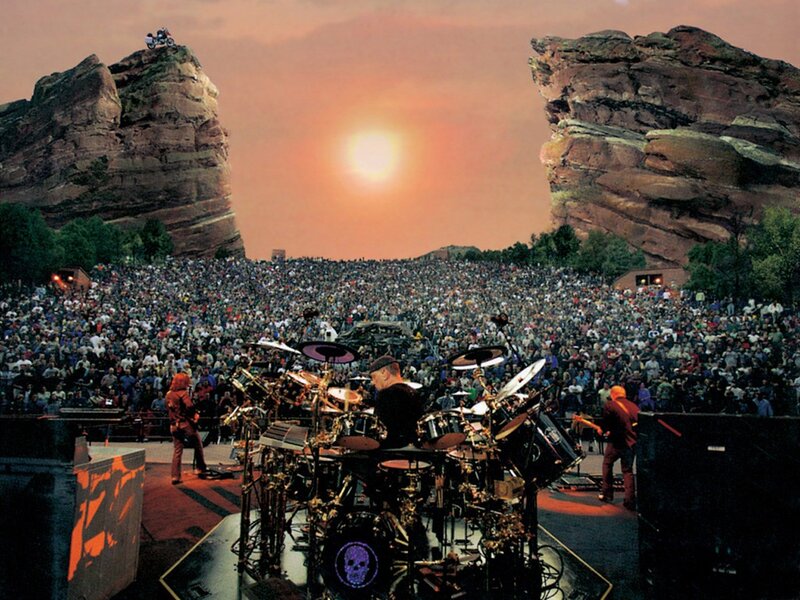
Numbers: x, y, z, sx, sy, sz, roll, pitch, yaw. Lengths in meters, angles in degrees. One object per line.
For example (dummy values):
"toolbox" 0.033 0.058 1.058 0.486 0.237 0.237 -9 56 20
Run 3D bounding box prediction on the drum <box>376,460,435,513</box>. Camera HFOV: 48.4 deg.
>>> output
"drum" 0.087 3.121 15.011 0.932 0.879 0.876 4 -17 -2

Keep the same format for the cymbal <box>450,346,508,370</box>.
"cymbal" 1.338 0.986 15.338 1.013 0.370 0.992 -3 -6 -18

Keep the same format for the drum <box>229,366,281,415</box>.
"drum" -2.503 1.515 15.168 0.805 0.792 0.770 -4 -6 -11

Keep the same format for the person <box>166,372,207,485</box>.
"person" -4.414 2.567 18.265 0.734 2.259 1.117 -3 -6 -14

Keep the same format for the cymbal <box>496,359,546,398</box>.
"cymbal" 1.975 1.340 14.772 0.771 0.109 0.611 -33 20 -1

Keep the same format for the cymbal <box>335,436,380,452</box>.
"cymbal" -0.696 2.355 14.689 0.703 0.283 0.456 -4 -5 -6

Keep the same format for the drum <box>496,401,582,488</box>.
"drum" 2.279 2.461 15.307 1.105 1.335 1.322 -42 9 -2

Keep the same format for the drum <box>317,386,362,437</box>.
"drum" -1.012 1.867 15.038 0.701 0.625 0.720 11 5 43

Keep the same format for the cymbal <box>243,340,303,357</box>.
"cymbal" -2.065 0.807 14.892 0.514 0.114 0.450 23 -16 -36

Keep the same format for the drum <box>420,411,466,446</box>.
"drum" 0.660 2.100 14.499 0.620 0.358 0.605 0 -14 0

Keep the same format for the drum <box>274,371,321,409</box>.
"drum" -1.777 1.560 15.494 0.745 0.680 1.530 -4 -5 -7

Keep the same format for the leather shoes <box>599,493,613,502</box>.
"leather shoes" 4.033 3.883 17.465 0.217 0.178 0.155 15 -9 10
